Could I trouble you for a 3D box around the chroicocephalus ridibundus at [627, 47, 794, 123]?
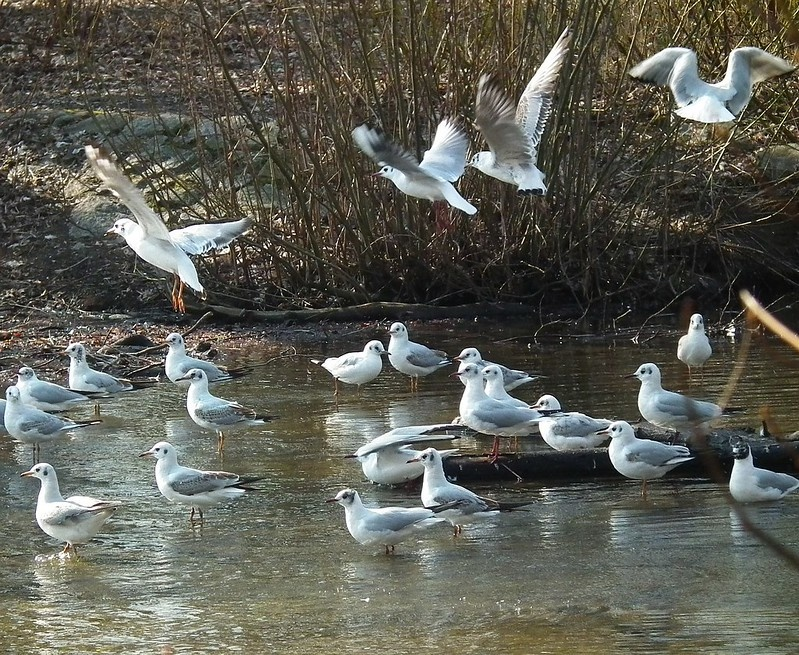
[{"bbox_3d":[3.149,-2.504,13.660,1.744,0.528,1.395,3,5,13],"label":"chroicocephalus ridibundus"}]
